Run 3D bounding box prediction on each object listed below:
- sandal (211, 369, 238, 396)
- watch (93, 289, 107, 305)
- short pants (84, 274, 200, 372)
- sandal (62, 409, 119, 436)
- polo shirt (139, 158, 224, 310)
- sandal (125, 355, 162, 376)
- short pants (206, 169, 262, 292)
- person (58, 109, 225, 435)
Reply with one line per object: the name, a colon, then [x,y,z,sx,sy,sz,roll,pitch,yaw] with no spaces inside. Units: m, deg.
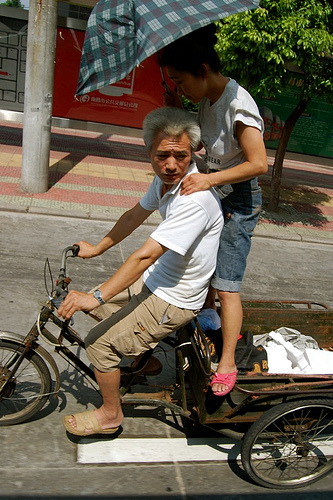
sandal: [0.306,0.720,2.282,0.151,0.124,0.122,6,14,-5]
watch: [-0.326,0.217,2.050,0.047,0.072,0.072,-34,-18,-12]
short pants: [-0.193,0.391,2.294,0.659,0.189,0.518,-26,41,2]
sandal: [-0.460,0.991,2.424,0.257,0.135,0.079,5,15,-9]
polo shirt: [0.075,-0.006,2.190,0.374,0.708,0.407,10,14,4]
sandal: [-0.109,0.794,2.868,0.333,0.102,0.109,-3,36,-9]
short pants: [0.438,-0.121,2.682,0.399,0.749,0.337,15,23,10]
person: [-0.116,0.255,2.366,0.699,1.983,0.797,10,15,5]
